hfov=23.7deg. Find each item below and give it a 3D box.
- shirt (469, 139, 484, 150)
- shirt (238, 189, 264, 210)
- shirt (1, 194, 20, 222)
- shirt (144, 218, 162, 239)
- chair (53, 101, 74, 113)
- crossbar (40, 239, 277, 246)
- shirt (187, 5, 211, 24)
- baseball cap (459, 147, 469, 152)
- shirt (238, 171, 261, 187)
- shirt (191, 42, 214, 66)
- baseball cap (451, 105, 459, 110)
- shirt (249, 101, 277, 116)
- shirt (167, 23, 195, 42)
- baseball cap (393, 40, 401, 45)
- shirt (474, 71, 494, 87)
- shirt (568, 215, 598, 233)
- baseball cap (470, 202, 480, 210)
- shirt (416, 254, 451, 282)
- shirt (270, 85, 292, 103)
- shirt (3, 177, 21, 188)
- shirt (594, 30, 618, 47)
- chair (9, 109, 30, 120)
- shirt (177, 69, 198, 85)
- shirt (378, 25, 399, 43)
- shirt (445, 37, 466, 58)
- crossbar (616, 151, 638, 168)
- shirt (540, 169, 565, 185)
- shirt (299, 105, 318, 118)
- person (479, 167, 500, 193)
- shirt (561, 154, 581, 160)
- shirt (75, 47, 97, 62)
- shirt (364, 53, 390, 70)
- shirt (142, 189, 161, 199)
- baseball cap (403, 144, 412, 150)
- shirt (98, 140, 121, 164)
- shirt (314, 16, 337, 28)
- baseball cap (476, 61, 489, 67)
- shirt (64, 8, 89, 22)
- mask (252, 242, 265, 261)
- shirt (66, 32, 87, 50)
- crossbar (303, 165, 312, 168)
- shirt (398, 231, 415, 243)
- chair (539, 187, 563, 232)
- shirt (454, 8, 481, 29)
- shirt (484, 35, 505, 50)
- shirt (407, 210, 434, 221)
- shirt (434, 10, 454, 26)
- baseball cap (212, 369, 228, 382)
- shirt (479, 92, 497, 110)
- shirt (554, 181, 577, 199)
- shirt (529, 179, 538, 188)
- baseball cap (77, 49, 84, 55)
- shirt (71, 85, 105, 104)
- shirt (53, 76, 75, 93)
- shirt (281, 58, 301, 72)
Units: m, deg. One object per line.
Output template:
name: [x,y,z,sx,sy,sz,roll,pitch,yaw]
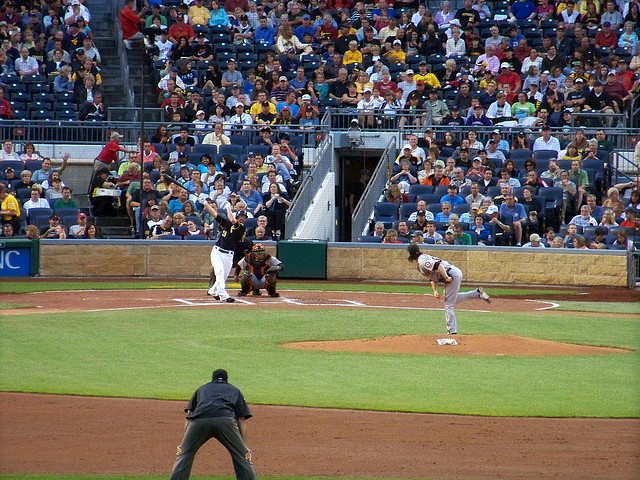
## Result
shirt: [4.763,-2.861,46.592,0.501,0.421,0.263,1,-26,7]
shirt: [-2.124,-1.210,45.629,0.929,0.755,0.532,0,6,-3]
shirt: [-9.161,-0.958,44.402,0.615,0.981,1.099,0,4,-7]
shirt: [-4.952,-0.331,44.857,0.599,0.620,0.345,1,-2,-4]
chair: [-8.484,-4.337,49.892,0.490,0.216,0.385,0,2,-4]
crossbar: [-5.360,0.054,44.596,5.613,0.190,0.720,3,8,-22]
shirt: [-4.368,-7.892,54.076,0.984,0.926,0.551,0,-1,-8]
baseball cap: [4.346,-2.696,45.773,0.313,0.134,0.230,1,4,-18]
shirt: [-2.154,-1.821,46.175,0.547,0.484,0.422,5,-1,-2]
shirt: [-4.091,-6.426,51.963,0.701,0.505,0.510,2,4,-3]
baseball cap: [4.273,-4.166,48.343,0.253,0.114,0.403,1,6,12]
shirt: [-1.878,-4.205,49.113,0.897,0.390,0.559,3,4,6]
shirt: [-4.841,-7.131,52.642,0.952,0.730,0.554,-1,0,2]
baseball cap: [2.562,-6.605,51.181,0.160,0.114,0.255,1,5,5]
shirt: [5.173,-5.261,49.596,0.418,0.575,0.214,8,-25,10]
shirt: [7.640,-0.514,44.125,0.626,0.458,0.347,-1,-11,11]
baseball cap: [4.480,-0.985,44.211,0.259,0.187,0.325,3,4,4]
shirt: [2.618,0.619,35.682,0.644,0.243,0.640,34,-8,-30]
shirt: [-1.369,-4.731,49.891,0.632,0.534,0.440,2,4,-2]
shirt: [-9.410,-1.735,46.377,0.296,0.378,0.312,1,-2,-36]
shirt: [9.645,-6.628,51.407,0.843,0.801,0.540,1,-3,19]
chair: [-9.845,-4.053,49.708,0.486,0.468,0.402,-1,2,-21]
shirt: [-4.509,-5.380,51.123,0.720,0.668,0.393,1,0,-12]
shirt: [2.337,-7.067,52.397,0.831,0.638,0.453,1,18,-8]
shirt: [4.572,-6.438,51.719,0.893,0.924,0.574,0,-5,2]
crossbar: [9.254,-2.430,46.080,0.622,0.446,1.342,3,4,11]
shirt: [6.771,-1.858,44.939,0.684,0.439,0.316,6,5,41]
shirt: [-0.399,-4.058,48.951,0.610,0.568,0.315,5,44,2]
person: [4.944,-1.733,44.996,0.745,1.033,0.338,-1,-40,6]
shirt: [7.494,-2.462,45.443,0.539,0.168,0.437,3,4,8]
shirt: [-7.872,-6.211,51.223,0.408,0.481,0.937,5,5,32]
shirt: [1.870,-5.888,50.775,0.653,0.629,0.250,4,-20,7]
shirt: [-5.089,-1.376,45.394,0.377,0.334,0.271,-1,2,24]
baseball cap: [2.668,-2.834,46.864,0.265,0.129,0.409,1,-5,10]
shirt: [-6.464,-2.619,46.603,0.583,0.755,0.771,14,11,-24]
shirt: [0.112,-7.637,53.565,0.760,0.552,0.416,1,-8,4]
baseball cap: [5.325,-5.797,50.379,0.375,0.161,0.456,3,4,7]
shirt: [-8.508,-7.757,52.905,0.875,0.431,0.861,1,4,-14]
mask: [-1.666,0.302,40.343,0.321,0.410,0.413,-1,-3,-13]
shirt: [-8.310,-6.666,51.546,0.650,0.602,0.339,12,-5,-3]
crossbar: [-0.459,-2.330,48.446,0.233,0.087,0.171,3,4,2]
shirt: [2.482,-0.075,44.861,0.277,0.371,0.376,-3,4,18]
chair: [6.578,-0.873,44.146,0.931,1.200,0.812,5,8,9]
shirt: [5.084,-7.632,52.786,0.915,0.708,0.707,3,4,6]
shirt: [5.833,-6.647,51.397,0.498,0.481,0.201,7,-27,19]
shirt: [3.054,-0.700,44.623,0.579,0.344,1.143,0,4,-28]
shirt: [4.321,-7.672,53.274,0.846,0.658,0.487,0,0,3]
baseball cap: [-1.935,2.623,29.309,0.275,0.364,0.221,4,22,3]
shirt: [5.310,-4.392,48.607,0.646,0.591,0.355,4,-9,0]
shirt: [7.137,-1.456,44.430,0.678,0.502,0.388,4,4,16]
shirt: [6.262,-1.641,44.674,0.267,0.343,0.191,2,12,13]
baseball cap: [-7.986,-6.204,50.597,0.131,0.168,0.287,6,5,42]
shirt: [-7.771,-4.710,50.197,1.102,0.858,0.577,1,-1,-14]
shirt: [-8.493,-5.086,50.273,0.677,0.540,0.388,1,5,-23]
shirt: [-1.026,-5.848,51.372,0.630,0.481,0.494,1,4,-13]
